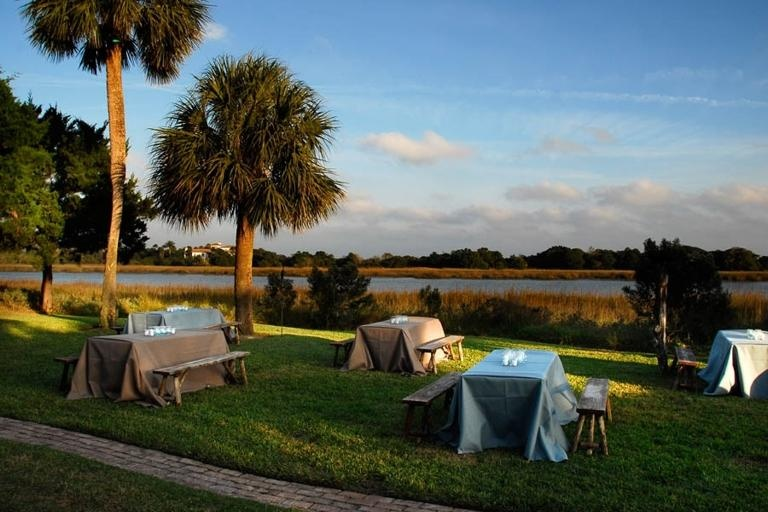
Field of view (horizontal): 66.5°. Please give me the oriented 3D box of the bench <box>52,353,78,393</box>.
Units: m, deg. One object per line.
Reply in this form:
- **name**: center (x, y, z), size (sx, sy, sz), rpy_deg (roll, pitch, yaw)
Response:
- **bench**: center (-7.229, 2.676, 13.251), size (0.428, 0.648, 0.631), rpy_deg (3, 0, 44)

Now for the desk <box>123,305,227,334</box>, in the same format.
- **desk**: center (-5.749, 1.767, 16.735), size (1.130, 0.536, 1.928), rpy_deg (6, 9, 33)

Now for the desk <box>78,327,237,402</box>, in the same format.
- **desk**: center (-4.964, 2.307, 12.877), size (1.573, 0.820, 2.045), rpy_deg (1, -1, 33)
